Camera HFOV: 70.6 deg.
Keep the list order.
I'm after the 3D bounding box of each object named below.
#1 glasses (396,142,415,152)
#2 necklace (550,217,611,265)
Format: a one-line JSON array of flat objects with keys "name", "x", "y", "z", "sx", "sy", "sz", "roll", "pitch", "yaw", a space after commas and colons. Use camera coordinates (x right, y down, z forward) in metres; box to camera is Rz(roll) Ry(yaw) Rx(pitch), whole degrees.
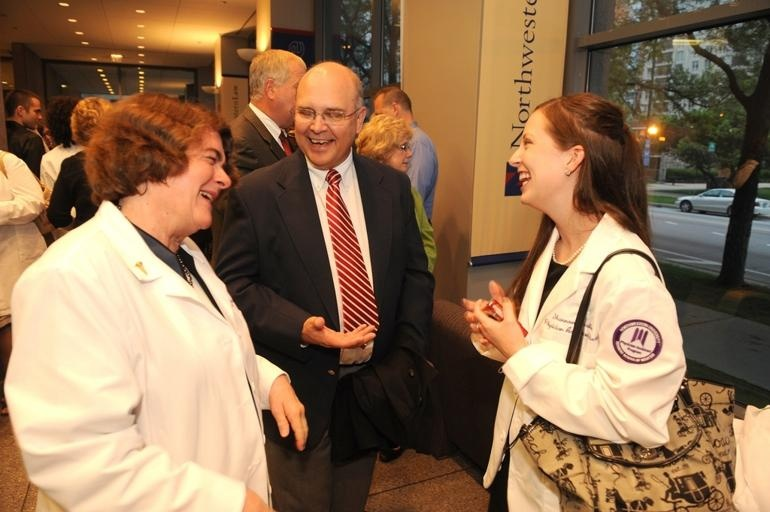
[{"name": "glasses", "x": 0.146, "y": -0.786, "z": 3.923, "sx": 0.134, "sy": 0.042, "sz": 0.143, "roll": -5, "pitch": 13, "yaw": 12}, {"name": "necklace", "x": 0.814, "y": -0.073, "z": 2.314, "sx": 0.208, "sy": 0.075, "sz": 0.147, "roll": -57, "pitch": 22, "yaw": -15}]
